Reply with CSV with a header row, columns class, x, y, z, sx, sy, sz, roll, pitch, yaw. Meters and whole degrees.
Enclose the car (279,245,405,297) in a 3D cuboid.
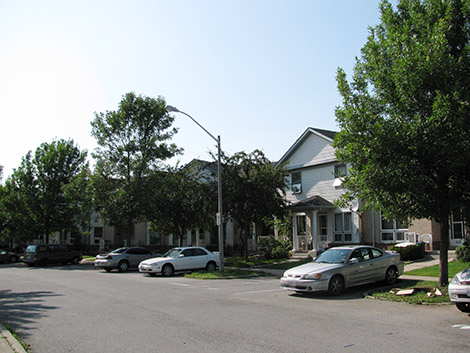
class,x,y,z,sx,sy,sz,roll,pitch,yaw
car,4.250,3.602,16.327,4.986,1.685,1.245,2,-6,-29
